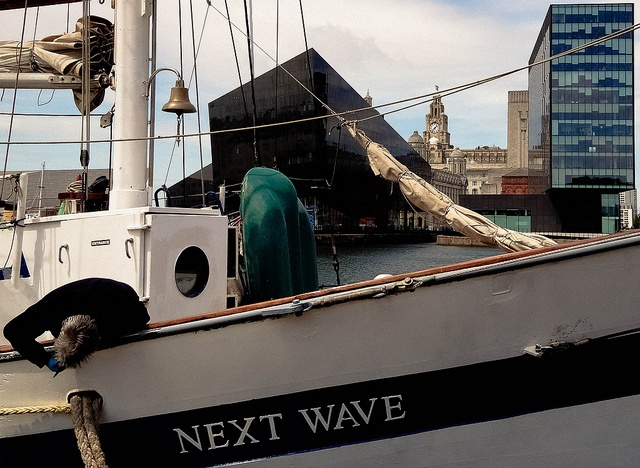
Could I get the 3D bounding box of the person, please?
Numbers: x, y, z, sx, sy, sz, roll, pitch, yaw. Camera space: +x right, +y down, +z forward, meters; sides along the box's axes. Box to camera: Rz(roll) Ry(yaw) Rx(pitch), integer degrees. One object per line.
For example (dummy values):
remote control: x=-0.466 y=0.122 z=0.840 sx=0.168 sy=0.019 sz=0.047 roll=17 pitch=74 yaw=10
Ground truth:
person: x=-2.242 y=0.780 z=9.836 sx=0.796 sy=0.394 sz=1.081 roll=13 pitch=35 yaw=1
